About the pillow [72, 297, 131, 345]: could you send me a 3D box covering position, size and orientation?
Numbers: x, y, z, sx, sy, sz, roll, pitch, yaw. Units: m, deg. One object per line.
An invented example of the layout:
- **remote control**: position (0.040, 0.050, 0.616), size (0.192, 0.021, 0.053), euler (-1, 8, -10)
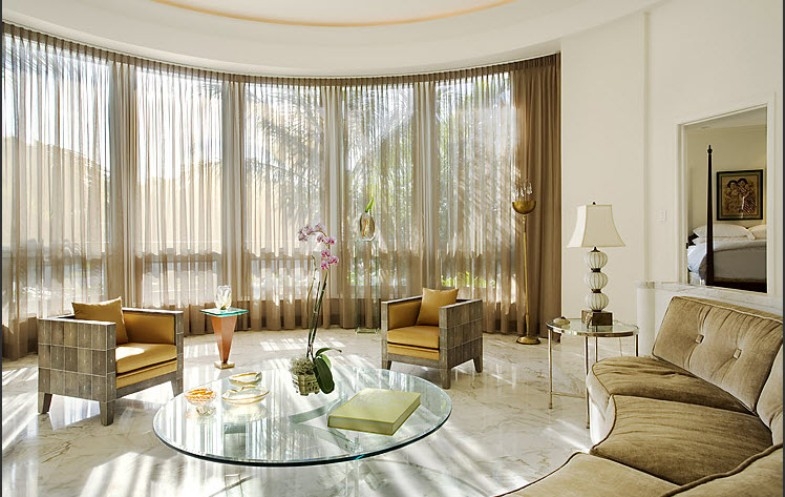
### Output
- **pillow**: position (-3.020, 0.760, 5.608), size (0.150, 0.416, 0.408), euler (-26, -9, 30)

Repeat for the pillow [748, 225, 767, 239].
- **pillow**: position (4.032, -0.184, 5.995), size (0.042, 0.145, 0.137), euler (11, -35, -42)

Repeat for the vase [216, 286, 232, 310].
- **vase**: position (-2.092, 0.628, 6.830), size (0.260, 0.366, 0.258), euler (4, -3, -19)

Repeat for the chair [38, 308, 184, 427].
- **chair**: position (-2.951, 1.190, 5.747), size (1.205, 0.932, 1.215), euler (0, 2, 2)

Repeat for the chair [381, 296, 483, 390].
- **chair**: position (0.522, 1.053, 6.506), size (0.996, 0.990, 1.020), euler (-2, -3, 38)

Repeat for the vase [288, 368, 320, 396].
- **vase**: position (-0.783, 1.178, 4.777), size (0.221, 0.137, 0.189), euler (0, 3, 12)

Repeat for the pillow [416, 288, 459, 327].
- **pillow**: position (0.525, 0.708, 6.399), size (0.394, 0.383, 0.142), euler (3, -22, 37)

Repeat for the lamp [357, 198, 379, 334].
- **lamp**: position (-0.416, 0.246, 8.455), size (0.407, 1.598, 0.502), euler (-4, 2, -4)

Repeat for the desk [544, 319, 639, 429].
- **desk**: position (2.123, 1.262, 5.875), size (1.022, 1.218, 1.284), euler (-2, -1, 34)

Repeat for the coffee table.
- **coffee table**: position (-0.913, 1.418, 4.699), size (1.358, 0.325, 1.363), euler (1, 2, 4)
